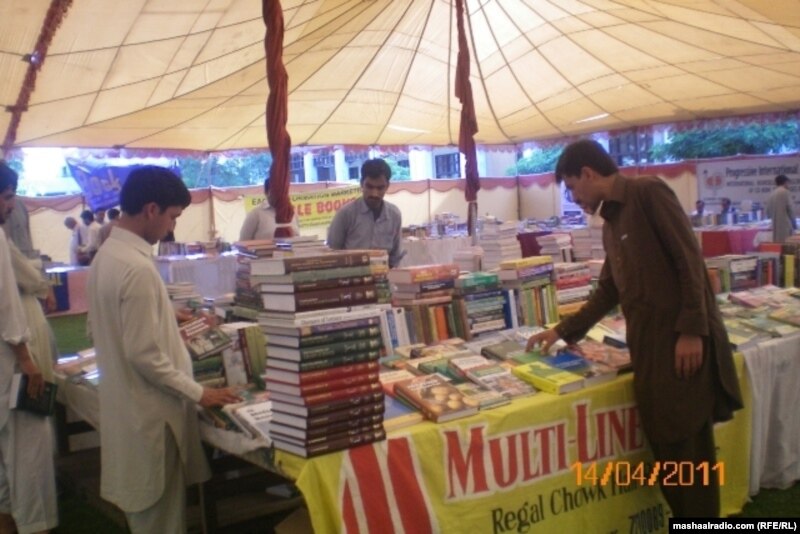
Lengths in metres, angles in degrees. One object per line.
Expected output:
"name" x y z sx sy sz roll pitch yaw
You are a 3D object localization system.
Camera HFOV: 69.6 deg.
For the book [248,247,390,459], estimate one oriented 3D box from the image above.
"book" -0.511 0.547 3.740 0.785 1.244 0.335 -5 3 -15
